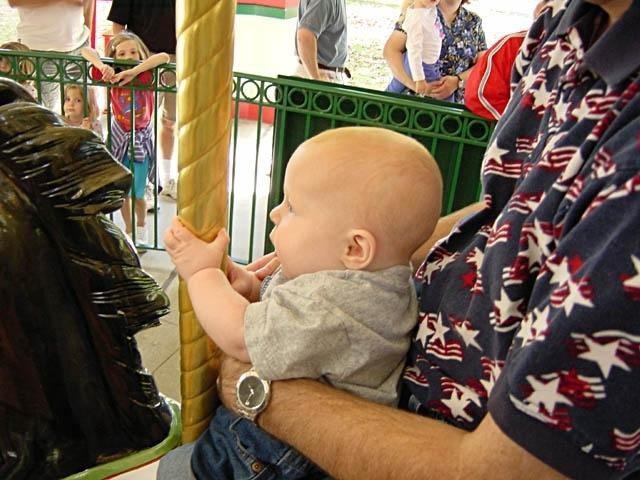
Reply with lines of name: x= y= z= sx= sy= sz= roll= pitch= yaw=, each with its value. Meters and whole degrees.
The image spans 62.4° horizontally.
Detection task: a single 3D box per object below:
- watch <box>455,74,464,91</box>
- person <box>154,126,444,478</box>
watch: x=1.052 y=-1.186 z=3.985 sx=0.079 sy=0.115 sz=0.043 roll=1 pitch=1 yaw=-15
person: x=-0.023 y=0.074 z=1.614 sx=0.705 sy=1.084 sz=0.735 roll=9 pitch=12 yaw=13
